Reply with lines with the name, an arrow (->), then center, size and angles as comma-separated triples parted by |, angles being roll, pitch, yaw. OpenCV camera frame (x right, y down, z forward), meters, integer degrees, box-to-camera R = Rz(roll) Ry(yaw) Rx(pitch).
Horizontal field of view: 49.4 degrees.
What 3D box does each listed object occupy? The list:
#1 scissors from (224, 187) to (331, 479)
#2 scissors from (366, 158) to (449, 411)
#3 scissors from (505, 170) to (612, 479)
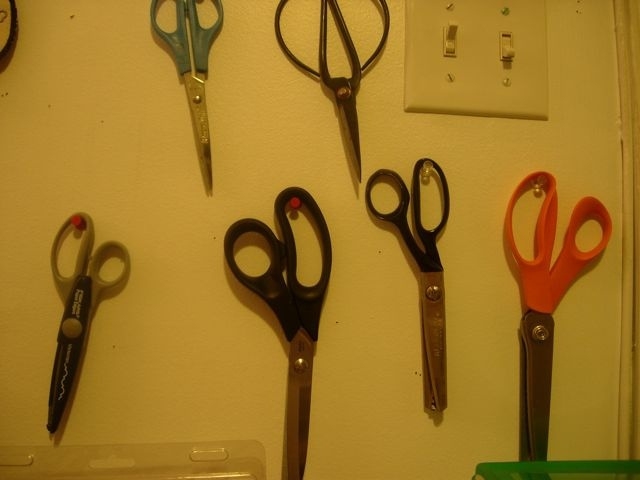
scissors -> -0.059, 0.148, 1.151 | 0.150, 0.452, 0.214 | -19, -30, 39
scissors -> 0.165, 0.064, 1.228 | 0.129, 0.459, 0.042 | -4, -7, -9
scissors -> 0.402, 0.161, 1.241 | 0.154, 0.053, 0.564 | 0, -67, 3
